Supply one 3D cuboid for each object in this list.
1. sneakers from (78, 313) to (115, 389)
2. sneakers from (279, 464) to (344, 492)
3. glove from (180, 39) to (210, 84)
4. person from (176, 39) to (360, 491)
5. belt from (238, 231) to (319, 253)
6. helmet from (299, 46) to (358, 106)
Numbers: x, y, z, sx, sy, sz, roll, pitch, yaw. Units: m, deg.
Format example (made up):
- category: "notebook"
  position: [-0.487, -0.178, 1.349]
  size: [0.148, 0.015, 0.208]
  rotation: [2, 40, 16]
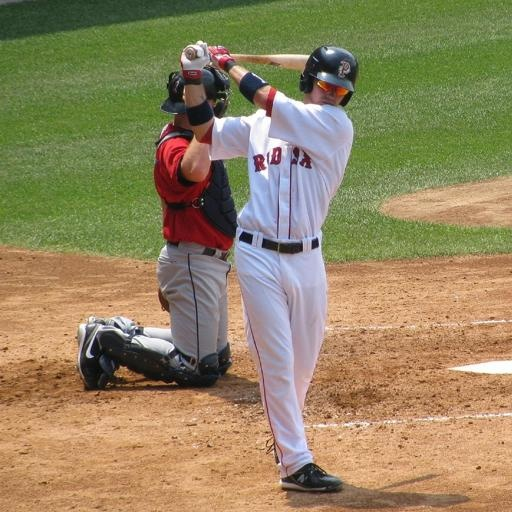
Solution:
- category: "sneakers"
  position: [-1.174, 0.716, 7.333]
  size: [0.236, 0.450, 0.288]
  rotation: [-1, 0, 8]
- category: "sneakers"
  position: [0.328, 1.307, 6.051]
  size: [0.345, 0.121, 0.161]
  rotation: [0, 1, 5]
- category: "glove"
  position: [-0.367, -1.129, 6.077]
  size: [0.127, 0.239, 0.199]
  rotation: [-10, -14, 43]
- category: "person"
  position: [0.102, 0.058, 6.138]
  size: [0.938, 2.584, 0.818]
  rotation: [2, 12, 7]
- category: "belt"
  position: [0.119, -0.071, 6.033]
  size: [0.437, 0.129, 0.123]
  rotation: [0, 11, -3]
- category: "helmet"
  position: [0.444, -1.076, 6.160]
  size: [0.269, 0.263, 0.348]
  rotation: [29, 2, -17]
